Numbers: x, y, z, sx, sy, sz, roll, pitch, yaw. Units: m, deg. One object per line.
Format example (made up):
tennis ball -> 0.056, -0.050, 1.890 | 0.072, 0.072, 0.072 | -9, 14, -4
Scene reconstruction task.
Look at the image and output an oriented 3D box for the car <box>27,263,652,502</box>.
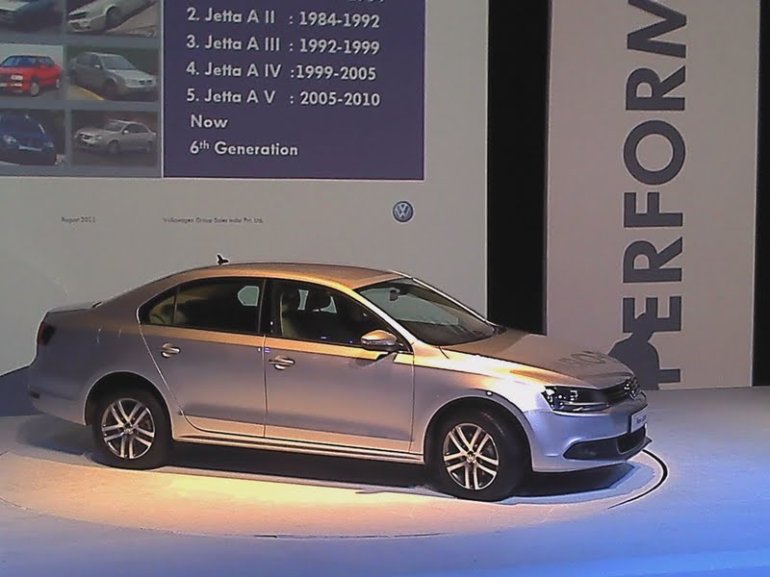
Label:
car -> -0.396, 0.787, 6.963 | 5.186, 1.816, 2.335 | 0, 1, 14
